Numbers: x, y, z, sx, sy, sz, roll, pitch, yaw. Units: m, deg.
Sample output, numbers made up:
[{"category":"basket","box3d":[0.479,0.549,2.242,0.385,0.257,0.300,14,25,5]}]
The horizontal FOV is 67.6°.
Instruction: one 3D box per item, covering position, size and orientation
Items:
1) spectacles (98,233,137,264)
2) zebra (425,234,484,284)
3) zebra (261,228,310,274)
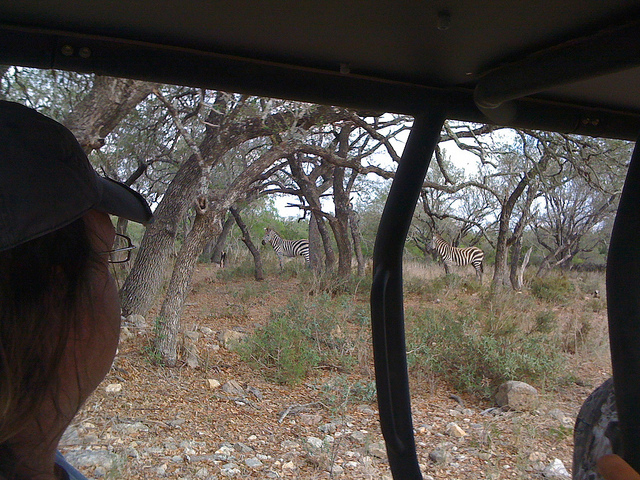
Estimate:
[{"category":"spectacles","box3d":[-0.454,0.028,1.115,0.082,0.031,0.089,-8,10,-24]},{"category":"zebra","box3d":[4.077,0.523,14.381,1.367,1.020,2.669,5,7,-6]},{"category":"zebra","box3d":[-1.138,0.307,15.929,1.369,1.031,3.105,5,7,-12]}]
